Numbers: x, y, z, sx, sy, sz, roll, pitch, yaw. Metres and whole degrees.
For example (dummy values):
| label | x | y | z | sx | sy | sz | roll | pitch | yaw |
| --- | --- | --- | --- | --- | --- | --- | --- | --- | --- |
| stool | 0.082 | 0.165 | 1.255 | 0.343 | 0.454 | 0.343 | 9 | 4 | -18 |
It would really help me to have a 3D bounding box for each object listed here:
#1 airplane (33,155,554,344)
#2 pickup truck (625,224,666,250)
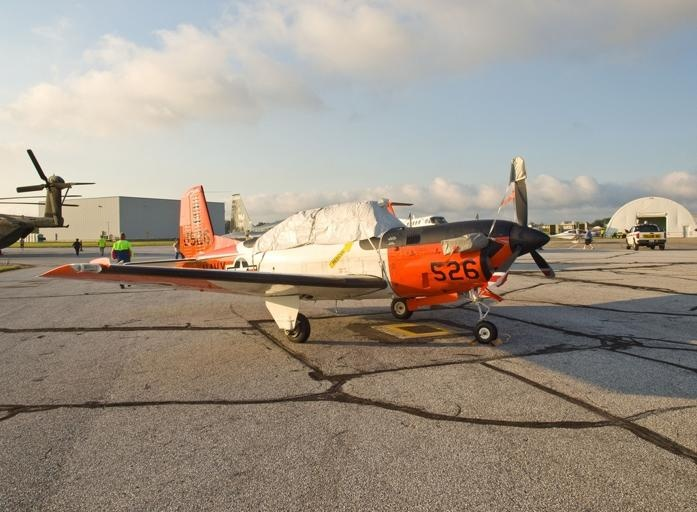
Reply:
| label | x | y | z | sx | sy | sz | roll | pitch | yaw |
| --- | --- | --- | --- | --- | --- | --- | --- | --- | --- |
| airplane | -0.106 | -0.075 | 8.559 | 6.938 | 3.169 | 3.588 | -2 | 14 | -3 |
| pickup truck | 18.895 | -1.391 | 30.857 | 1.697 | 0.998 | 2.961 | 0 | 4 | 13 |
